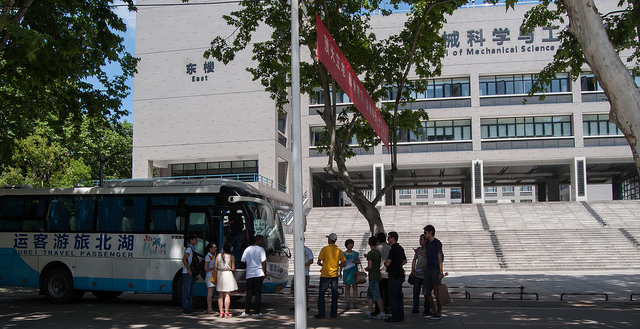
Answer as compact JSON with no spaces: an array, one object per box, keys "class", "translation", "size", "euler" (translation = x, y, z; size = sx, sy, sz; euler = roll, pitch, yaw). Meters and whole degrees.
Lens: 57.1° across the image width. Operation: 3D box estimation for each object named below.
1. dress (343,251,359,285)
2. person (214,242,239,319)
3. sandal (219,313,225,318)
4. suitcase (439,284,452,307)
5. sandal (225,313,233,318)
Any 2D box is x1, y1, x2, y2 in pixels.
[{"class":"dress","translation":[1.568,5.444,30.908],"size":[0.726,1.699,0.895],"euler":[-2,-10,-7]},{"class":"person","translation":[-4.895,6.031,30.540],"size":[1.080,3.829,0.732],"euler":[-9,-11,26]},{"class":"sandal","translation":[-5.057,7.770,30.295],"size":[0.254,0.221,0.220],"euler":[0,-11,-19]},{"class":"suitcase","translation":[6.170,6.475,29.347],"size":[0.483,0.993,0.578],"euler":[-5,-10,10]},{"class":"sandal","translation":[-4.709,7.774,30.326],"size":[0.380,0.239,0.268],"euler":[-2,-10,-8]}]
